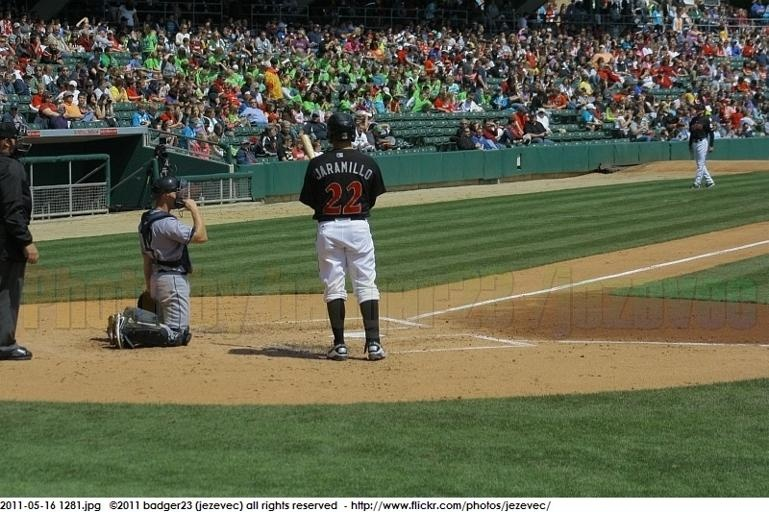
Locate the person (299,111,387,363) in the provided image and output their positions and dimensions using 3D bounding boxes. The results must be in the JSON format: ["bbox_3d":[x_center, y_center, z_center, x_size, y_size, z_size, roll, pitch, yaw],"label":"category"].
[{"bbox_3d":[-0.577,-0.276,22.395,1.211,3.616,0.936,1,14,7],"label":"person"}]

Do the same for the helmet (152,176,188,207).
[{"bbox_3d":[-3.188,-1.034,22.894,0.554,0.426,0.490,-14,19,-27],"label":"helmet"}]

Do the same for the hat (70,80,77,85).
[{"bbox_3d":[-6.957,-3.894,33.749,0.171,0.149,0.159,0,0,-5],"label":"hat"}]

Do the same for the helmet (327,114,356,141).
[{"bbox_3d":[-0.635,-1.963,22.451,0.376,0.418,0.443,0,29,-3],"label":"helmet"}]

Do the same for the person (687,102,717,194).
[{"bbox_3d":[7.378,-2.466,34.930,0.545,1.924,1.394,2,14,12],"label":"person"}]

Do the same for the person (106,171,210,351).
[{"bbox_3d":[-3.413,0.105,22.785,1.388,2.507,0.684,-4,15,-13],"label":"person"}]

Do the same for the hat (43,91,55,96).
[{"bbox_3d":[-7.302,-3.514,32.807,0.202,0.051,0.186,3,13,16],"label":"hat"}]
